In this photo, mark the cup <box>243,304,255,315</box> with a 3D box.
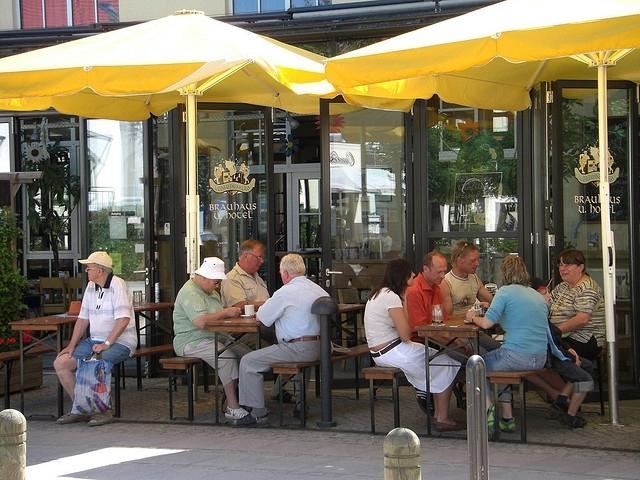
[{"bbox_3d":[-0.772,0.746,8.825,0.111,0.118,0.110,1,2,0],"label":"cup"}]

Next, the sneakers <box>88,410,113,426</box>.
[{"bbox_3d":[-2.319,1.874,8.638,0.108,0.123,0.281,-2,-6,35],"label":"sneakers"}]

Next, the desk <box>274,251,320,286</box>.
[{"bbox_3d":[-0.306,0.323,11.425,0.661,0.606,0.468,1,-4,-16],"label":"desk"}]

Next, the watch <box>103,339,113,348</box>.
[{"bbox_3d":[-2.305,1.108,8.816,0.086,0.062,0.084,5,-9,-23],"label":"watch"}]

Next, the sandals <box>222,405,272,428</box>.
[{"bbox_3d":[-0.777,1.832,8.536,0.517,0.211,0.170,6,-4,-8],"label":"sandals"}]

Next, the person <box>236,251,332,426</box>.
[{"bbox_3d":[-0.427,1.032,8.604,0.869,1.508,0.249,-1,0,-8],"label":"person"}]

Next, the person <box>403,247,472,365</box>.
[{"bbox_3d":[1.270,0.787,8.747,0.751,1.314,0.677,3,14,37],"label":"person"}]

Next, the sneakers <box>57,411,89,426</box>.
[{"bbox_3d":[-2.663,1.896,8.741,0.371,0.147,0.122,4,-3,-11],"label":"sneakers"}]

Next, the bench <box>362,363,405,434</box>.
[{"bbox_3d":[0.641,1.554,8.340,0.431,0.620,0.672,-4,0,13],"label":"bench"}]

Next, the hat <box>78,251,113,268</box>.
[{"bbox_3d":[-2.495,0.210,9.012,0.333,0.143,0.209,3,0,7],"label":"hat"}]

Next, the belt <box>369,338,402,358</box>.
[{"bbox_3d":[0.657,1.089,8.236,0.215,0.061,0.239,-15,14,39],"label":"belt"}]

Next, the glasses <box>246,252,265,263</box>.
[{"bbox_3d":[-0.751,0.209,9.604,0.149,0.085,0.119,-10,-12,38],"label":"glasses"}]

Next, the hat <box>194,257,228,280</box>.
[{"bbox_3d":[-1.169,0.294,8.893,0.274,0.145,0.251,2,4,5],"label":"hat"}]

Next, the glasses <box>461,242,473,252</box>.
[{"bbox_3d":[1.652,0.077,9.171,0.113,0.081,0.096,16,-17,-30],"label":"glasses"}]

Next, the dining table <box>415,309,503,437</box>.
[{"bbox_3d":[1.358,1.382,8.651,0.667,0.857,1.792,-2,-8,7],"label":"dining table"}]
